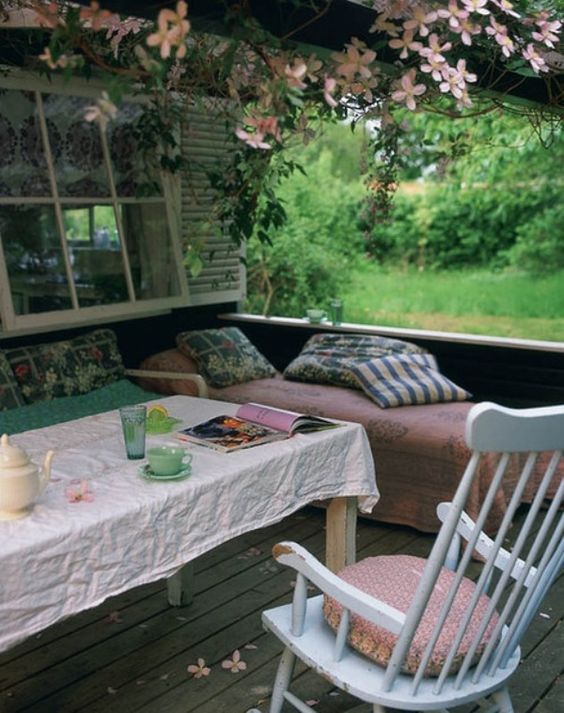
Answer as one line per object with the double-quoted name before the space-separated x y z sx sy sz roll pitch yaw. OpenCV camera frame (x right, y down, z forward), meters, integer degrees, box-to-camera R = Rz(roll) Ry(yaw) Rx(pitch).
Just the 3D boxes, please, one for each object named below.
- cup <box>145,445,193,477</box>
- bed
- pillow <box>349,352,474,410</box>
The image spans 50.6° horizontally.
"cup" -0.301 0.277 1.592 0.105 0.041 0.080 0 6 1
"bed" 0.356 0.384 3.410 1.770 0.524 1.071 8 16 28
"pillow" 0.769 0.153 3.608 0.447 0.120 0.418 -4 25 -18
